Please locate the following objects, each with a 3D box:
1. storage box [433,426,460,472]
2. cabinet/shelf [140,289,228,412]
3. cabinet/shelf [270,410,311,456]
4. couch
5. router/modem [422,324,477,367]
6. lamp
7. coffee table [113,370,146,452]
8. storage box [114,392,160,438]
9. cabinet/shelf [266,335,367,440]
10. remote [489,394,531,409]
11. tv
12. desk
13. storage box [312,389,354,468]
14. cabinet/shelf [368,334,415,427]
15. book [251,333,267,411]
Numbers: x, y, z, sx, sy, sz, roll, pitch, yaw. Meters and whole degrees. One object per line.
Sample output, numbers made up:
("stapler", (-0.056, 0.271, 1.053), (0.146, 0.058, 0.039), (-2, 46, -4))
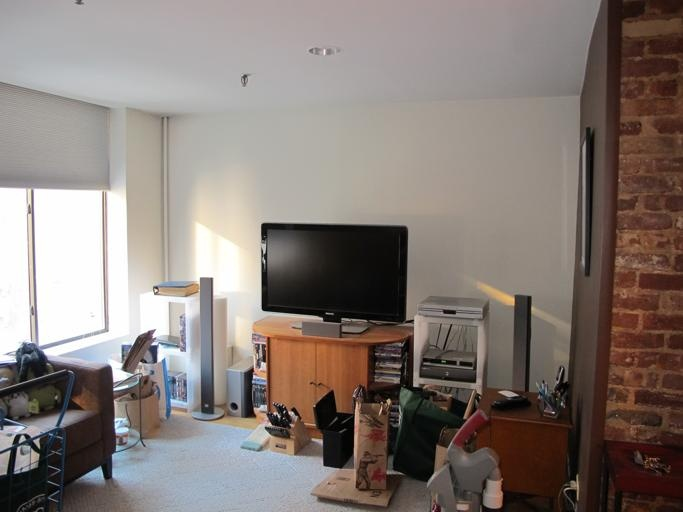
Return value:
("storage box", (0.695, 1.301, 3.566), (0.156, 0.364, 0.431), (0, 2, 10))
("cabinet/shelf", (-1.477, 0.845, 5.163), (0.755, 1.355, 1.189), (1, 1, 1))
("cabinet/shelf", (-0.408, 1.424, 4.458), (0.264, 0.351, 0.367), (0, -4, 11))
("couch", (-2.075, 1.155, 3.764), (0.868, 0.906, 0.651), (-1, 1, 36))
("router/modem", (0.927, 0.760, 4.546), (0.312, 0.212, 0.342), (3, 7, 23))
("lamp", (-1.221, 0.834, 4.938), (0.268, 1.279, 0.208), (-1, 2, -16))
("coffee table", (-1.719, 1.232, 4.398), (0.221, 0.611, 0.356), (-1, 2, -23))
("storage box", (-1.728, 1.303, 4.614), (0.325, 0.324, 0.331), (0, 8, -12))
("cabinet/shelf", (-0.165, 1.066, 4.405), (0.822, 0.779, 0.295), (1, 5, 15))
("remote", (1.079, 0.932, 3.452), (0.167, 0.041, 0.098), (-2, 0, -6))
("tv", (-0.023, 0.185, 4.637), (0.923, 0.629, 0.101), (2, 8, 19))
("desk", (1.141, 1.187, 3.732), (0.683, 0.905, 0.965), (0, 6, 12))
("storage box", (-0.048, 1.338, 4.226), (0.297, 0.507, 0.322), (0, 2, 2))
("cabinet/shelf", (0.468, 1.096, 4.385), (0.507, 0.797, 0.520), (-2, -25, 1))
("book", (-0.725, 1.012, 4.753), (0.065, 0.684, 0.250), (-2, 3, -38))
